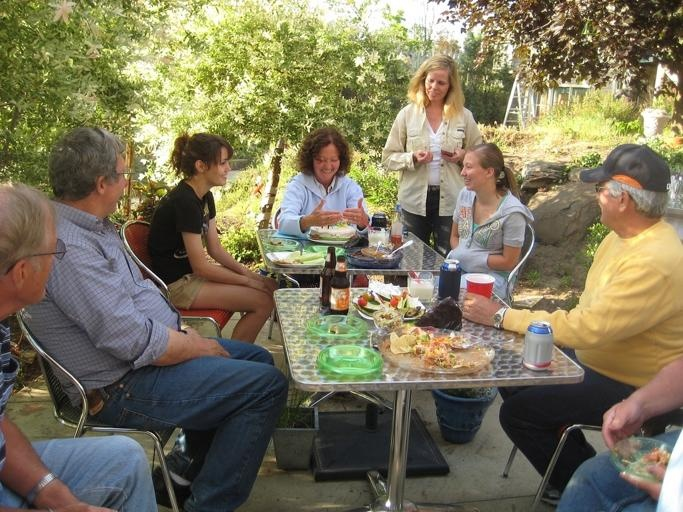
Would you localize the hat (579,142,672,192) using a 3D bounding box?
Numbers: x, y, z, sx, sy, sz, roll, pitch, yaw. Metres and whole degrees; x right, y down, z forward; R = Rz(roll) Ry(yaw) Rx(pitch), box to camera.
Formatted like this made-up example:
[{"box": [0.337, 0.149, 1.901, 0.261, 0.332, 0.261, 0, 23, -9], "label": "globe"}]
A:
[{"box": [1.306, -0.388, 2.419, 0.339, 0.184, 0.223, 21, 26, 26], "label": "hat"}]

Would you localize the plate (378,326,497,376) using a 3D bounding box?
[{"box": [0.397, 0.391, 2.146, 0.470, 0.107, 0.355, 2, 8, -12], "label": "plate"}]

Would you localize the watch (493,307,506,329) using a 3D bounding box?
[{"box": [0.731, 0.289, 2.411, 0.059, 0.089, 0.093, 18, -5, 18], "label": "watch"}]

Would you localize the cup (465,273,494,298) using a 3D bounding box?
[{"box": [0.697, 0.149, 2.627, 0.135, 0.090, 0.129, 0, 15, 0], "label": "cup"}]

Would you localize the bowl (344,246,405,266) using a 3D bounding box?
[{"box": [0.216, 0.015, 3.399, 0.358, 0.098, 0.316, 4, 8, 3], "label": "bowl"}]

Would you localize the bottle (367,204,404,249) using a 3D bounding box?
[{"box": [0.331, -0.196, 3.953, 0.377, 0.357, 0.223, -1, 5, -24], "label": "bottle"}]

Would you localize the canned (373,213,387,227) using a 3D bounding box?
[{"box": [0.272, -0.262, 3.886, 0.102, 0.099, 0.108, -1, 5, -15], "label": "canned"}]

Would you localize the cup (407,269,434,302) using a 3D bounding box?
[{"box": [0.412, 0.152, 2.759, 0.173, 0.148, 0.149, 0, 10, -1], "label": "cup"}]

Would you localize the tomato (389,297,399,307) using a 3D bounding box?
[{"box": [0.257, 0.226, 2.553, 0.046, 0.041, 0.044, 1, 4, 6], "label": "tomato"}]

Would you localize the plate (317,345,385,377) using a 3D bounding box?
[{"box": [0.036, 0.417, 2.074, 0.265, 0.052, 0.251, 7, 8, 21], "label": "plate"}]

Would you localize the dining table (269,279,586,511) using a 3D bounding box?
[{"box": [0.245, 0.526, 2.460, 1.312, 0.876, 1.036, 0, 20, -13], "label": "dining table"}]

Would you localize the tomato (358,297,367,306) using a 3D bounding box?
[{"box": [0.101, 0.221, 2.531, 0.037, 0.033, 0.035, 4, -6, 8], "label": "tomato"}]

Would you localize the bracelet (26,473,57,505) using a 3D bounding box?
[{"box": [-1.053, 0.802, 1.825, 0.027, 0.103, 0.096, 48, 16, -7], "label": "bracelet"}]

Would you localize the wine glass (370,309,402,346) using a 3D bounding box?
[{"box": [0.195, 0.321, 2.346, 0.146, 0.127, 0.134, 2, 13, 1], "label": "wine glass"}]

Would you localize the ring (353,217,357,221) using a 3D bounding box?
[{"box": [0.094, -0.283, 3.967, 0.034, 0.028, 0.007, 2, 9, -11], "label": "ring"}]
